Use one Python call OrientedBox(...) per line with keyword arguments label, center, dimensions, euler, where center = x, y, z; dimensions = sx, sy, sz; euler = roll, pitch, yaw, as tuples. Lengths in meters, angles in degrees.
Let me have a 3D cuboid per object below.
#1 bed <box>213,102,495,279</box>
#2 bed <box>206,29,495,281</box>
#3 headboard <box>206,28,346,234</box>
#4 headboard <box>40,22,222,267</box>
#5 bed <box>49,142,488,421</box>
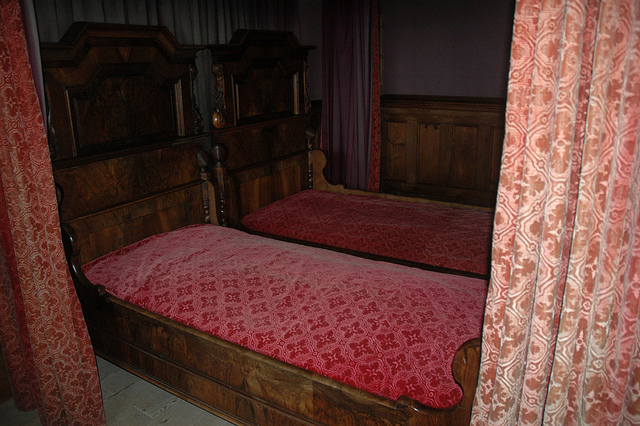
OrientedBox(label="bed", center=(0.488, -0.174, 4.267), dimensions=(2.449, 1.677, 1.407), euler=(10, 23, 24))
OrientedBox(label="bed", center=(0.515, -0.558, 3.894), dimensions=(2.659, 2.058, 1.551), euler=(12, 22, 32))
OrientedBox(label="headboard", center=(-0.466, -0.809, 4.345), dimensions=(0.660, 1.943, 1.647), euler=(9, 22, 24))
OrientedBox(label="headboard", center=(-1.457, -0.509, 3.304), dimensions=(0.184, 1.916, 1.575), euler=(10, 19, 30))
OrientedBox(label="bed", center=(-0.257, 0.229, 3.242), dimensions=(2.830, 1.969, 1.574), euler=(7, 21, 29))
